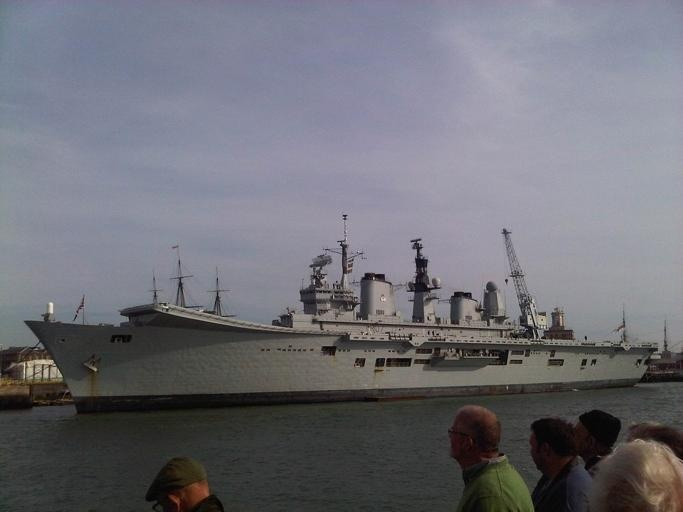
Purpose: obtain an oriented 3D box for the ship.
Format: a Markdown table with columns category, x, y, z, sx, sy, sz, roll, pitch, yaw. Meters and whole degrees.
| category | x | y | z | sx | sy | sz | roll | pitch | yaw |
| --- | --- | --- | --- | --- | --- | --- | --- | --- | --- |
| ship | -0.105 | 4.777 | 44.056 | 43.701 | 10.415 | 11.326 | 9 | -14 | -37 |
